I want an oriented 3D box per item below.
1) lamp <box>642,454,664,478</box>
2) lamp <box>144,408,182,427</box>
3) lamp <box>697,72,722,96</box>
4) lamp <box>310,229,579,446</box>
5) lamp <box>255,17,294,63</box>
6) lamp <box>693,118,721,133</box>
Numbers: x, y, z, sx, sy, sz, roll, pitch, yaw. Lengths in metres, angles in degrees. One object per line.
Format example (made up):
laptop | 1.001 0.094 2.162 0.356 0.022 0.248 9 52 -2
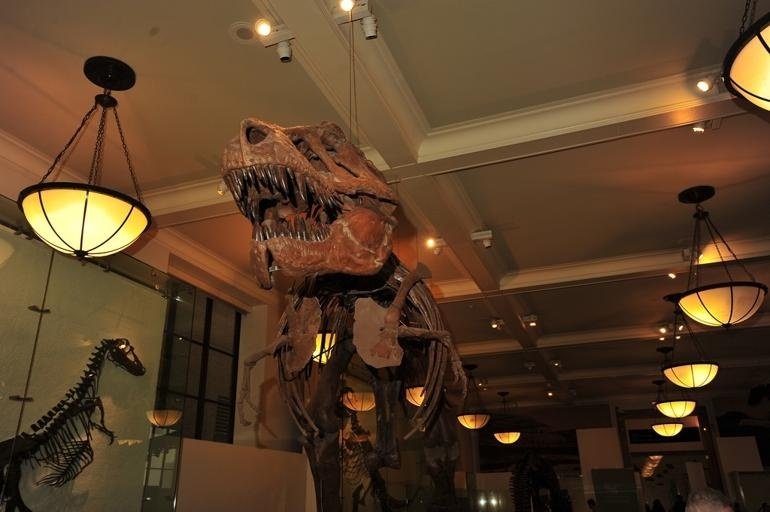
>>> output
lamp | 6.232 4.865 13.091 0.526 0.433 0.257 -18 -35 23
lamp | -2.371 1.716 5.923 0.229 0.094 0.226 -3 -28 7
lamp | 3.026 -1.590 5.218 0.224 0.129 0.079 -14 -8 -9
lamp | 0.160 0.565 4.465 1.071 0.685 1.560 -4 -64 27
lamp | -0.922 -1.858 4.854 0.262 0.151 0.355 4 -31 24
lamp | 3.209 -1.273 5.585 0.218 0.078 0.157 4 7 -13
